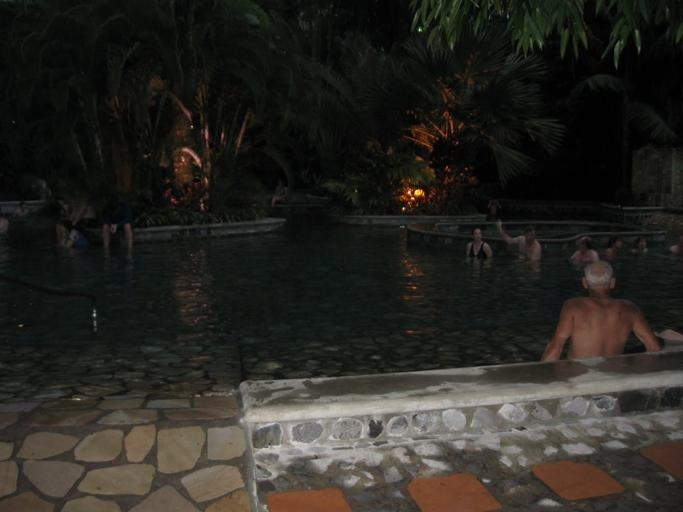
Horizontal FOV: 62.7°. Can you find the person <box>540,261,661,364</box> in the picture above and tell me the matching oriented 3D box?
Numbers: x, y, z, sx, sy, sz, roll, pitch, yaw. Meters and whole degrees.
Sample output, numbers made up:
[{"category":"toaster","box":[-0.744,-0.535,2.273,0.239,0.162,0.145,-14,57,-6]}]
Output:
[{"category":"person","box":[2.791,0.595,6.063,1.015,1.505,0.521,-2,37,9]}]
